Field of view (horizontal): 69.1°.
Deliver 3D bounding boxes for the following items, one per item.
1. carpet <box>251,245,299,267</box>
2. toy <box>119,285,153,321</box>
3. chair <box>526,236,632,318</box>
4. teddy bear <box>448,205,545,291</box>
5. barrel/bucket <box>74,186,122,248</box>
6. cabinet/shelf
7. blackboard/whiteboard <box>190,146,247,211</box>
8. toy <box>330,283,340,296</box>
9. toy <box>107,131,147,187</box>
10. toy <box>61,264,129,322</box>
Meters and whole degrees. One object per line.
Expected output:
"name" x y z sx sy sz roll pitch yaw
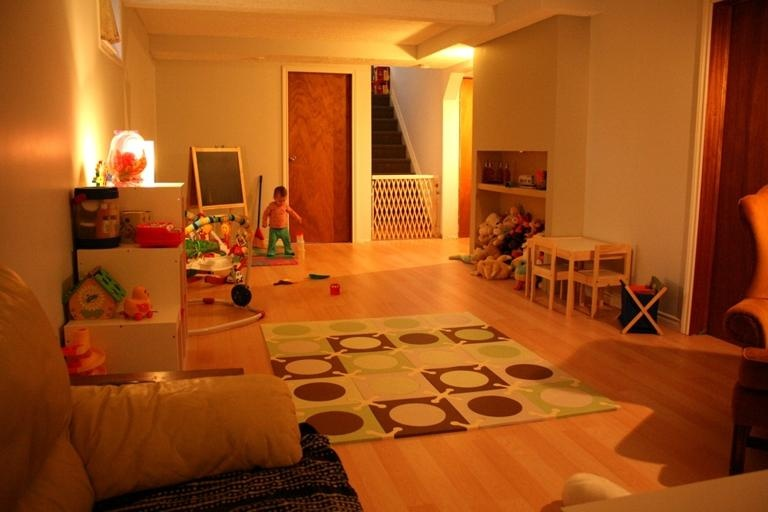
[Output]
"carpet" -1.434 0.003 7.381 0.588 0.069 1.010 -3 13 -12
"toy" -1.477 0.280 3.335 0.139 0.159 0.158 19 10 -20
"chair" 1.837 0.101 5.310 0.785 0.494 0.771 -4 11 -23
"teddy bear" 1.389 -0.194 6.666 0.703 0.773 1.158 -2 13 -7
"barrel/bucket" -1.703 -0.236 3.484 0.310 0.346 0.349 -1 4 -7
"cabinet/shelf" -1.585 0.148 3.376 0.401 0.927 1.140 0 8 -2
"blackboard/whiteboard" -2.217 -1.013 7.465 0.642 0.900 0.541 -7 22 -25
"toy" -0.493 0.351 5.697 0.105 0.107 0.103 -2 9 -16
"toy" -1.801 -0.685 3.911 0.258 0.356 0.271 -7 14 -25
"toy" -1.713 0.241 3.400 0.367 0.287 0.297 -3 -1 -3
